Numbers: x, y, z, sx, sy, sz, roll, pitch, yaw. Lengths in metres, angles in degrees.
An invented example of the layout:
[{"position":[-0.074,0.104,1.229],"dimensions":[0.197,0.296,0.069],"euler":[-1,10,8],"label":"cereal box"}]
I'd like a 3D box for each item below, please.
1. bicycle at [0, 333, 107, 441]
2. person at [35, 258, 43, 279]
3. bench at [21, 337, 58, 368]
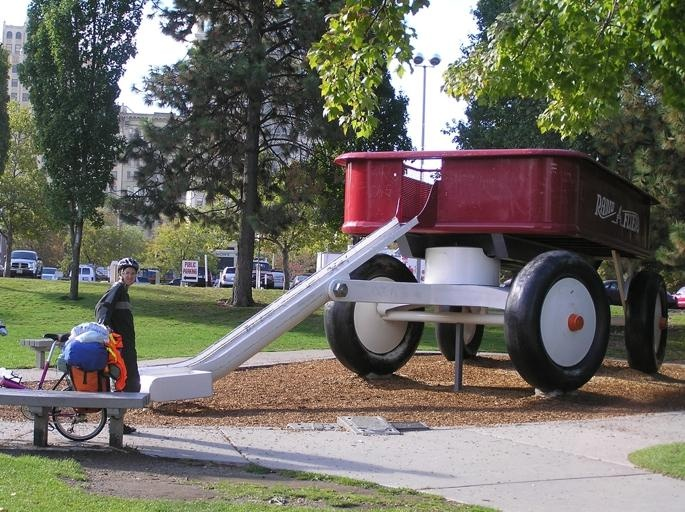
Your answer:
[{"position":[-3.971,1.911,14.650],"dimensions":[2.036,1.280,0.963],"euler":[6,-1,15],"label":"bicycle"},{"position":[-17.297,0.708,58.022],"dimensions":[0.687,1.170,0.305],"euler":[2,3,34],"label":"person"},{"position":[-5.370,1.615,17.808],"dimensions":[0.641,0.634,0.663],"euler":[1,1,33],"label":"bench"}]
